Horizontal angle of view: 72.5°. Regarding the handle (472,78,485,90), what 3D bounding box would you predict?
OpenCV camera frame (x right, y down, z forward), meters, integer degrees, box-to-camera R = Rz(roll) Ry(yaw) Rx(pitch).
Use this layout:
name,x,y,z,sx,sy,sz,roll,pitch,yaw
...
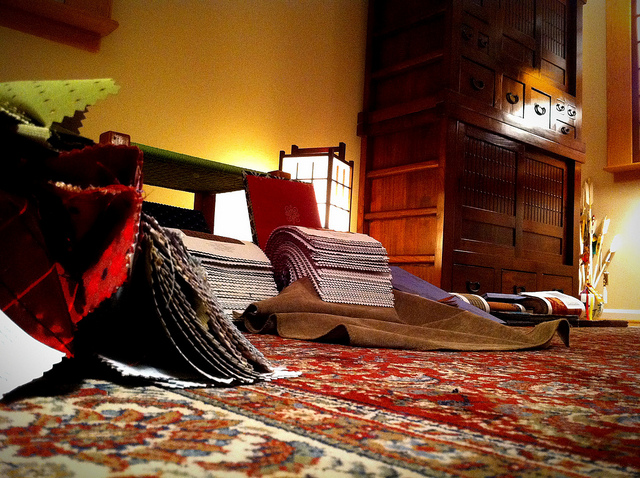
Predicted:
name,x,y,z,sx,sy,sz,roll,pitch,yaw
handle,1.315,-1.298,3.668,0.079,0.107,0.028,-39,-6,-31

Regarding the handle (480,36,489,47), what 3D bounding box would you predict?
name,x,y,z,sx,sy,sz,roll,pitch,yaw
handle,1.397,-1.681,3.716,0.024,0.094,0.137,-2,-6,45

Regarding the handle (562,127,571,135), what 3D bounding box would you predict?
name,x,y,z,sx,sy,sz,roll,pitch,yaw
handle,2.459,-1.088,4.376,0.075,0.074,0.018,-12,-23,-22

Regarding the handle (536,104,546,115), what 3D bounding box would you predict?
name,x,y,z,sx,sy,sz,roll,pitch,yaw
handle,2.105,-1.229,4.160,0.161,0.082,0.015,6,-6,-37
